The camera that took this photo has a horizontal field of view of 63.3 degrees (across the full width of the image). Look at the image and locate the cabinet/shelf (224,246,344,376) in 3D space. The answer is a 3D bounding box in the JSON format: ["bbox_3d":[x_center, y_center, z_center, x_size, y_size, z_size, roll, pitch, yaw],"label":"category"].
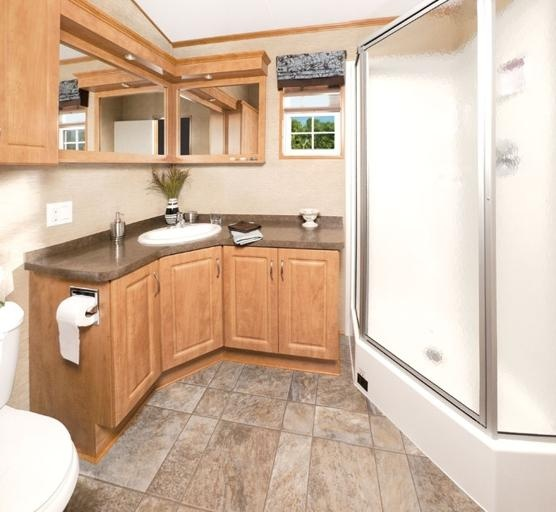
[{"bbox_3d":[0.031,0.318,2.781,0.720,0.710,0.307,2,5,15],"label":"cabinet/shelf"}]

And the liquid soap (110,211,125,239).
[{"bbox_3d":[-0.992,-0.196,2.798,0.077,0.162,0.262,-4,11,-16],"label":"liquid soap"}]

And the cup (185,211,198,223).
[{"bbox_3d":[-0.640,-0.298,3.406,0.081,0.075,0.137,7,14,35],"label":"cup"}]

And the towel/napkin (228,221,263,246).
[{"bbox_3d":[-0.201,-0.130,2.814,0.202,0.115,0.170,-3,11,-8],"label":"towel/napkin"}]

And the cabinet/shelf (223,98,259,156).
[{"bbox_3d":[-0.267,-0.951,3.265,0.174,0.520,0.343,2,7,13],"label":"cabinet/shelf"}]

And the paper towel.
[{"bbox_3d":[-0.915,0.326,2.071,0.198,0.299,0.126,5,14,17],"label":"paper towel"}]

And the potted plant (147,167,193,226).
[{"bbox_3d":[-0.801,-0.461,3.357,0.202,0.404,0.423,0,11,4],"label":"potted plant"}]

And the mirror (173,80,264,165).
[{"bbox_3d":[-0.414,-0.997,3.288,0.543,0.473,0.187,1,4,10],"label":"mirror"}]
